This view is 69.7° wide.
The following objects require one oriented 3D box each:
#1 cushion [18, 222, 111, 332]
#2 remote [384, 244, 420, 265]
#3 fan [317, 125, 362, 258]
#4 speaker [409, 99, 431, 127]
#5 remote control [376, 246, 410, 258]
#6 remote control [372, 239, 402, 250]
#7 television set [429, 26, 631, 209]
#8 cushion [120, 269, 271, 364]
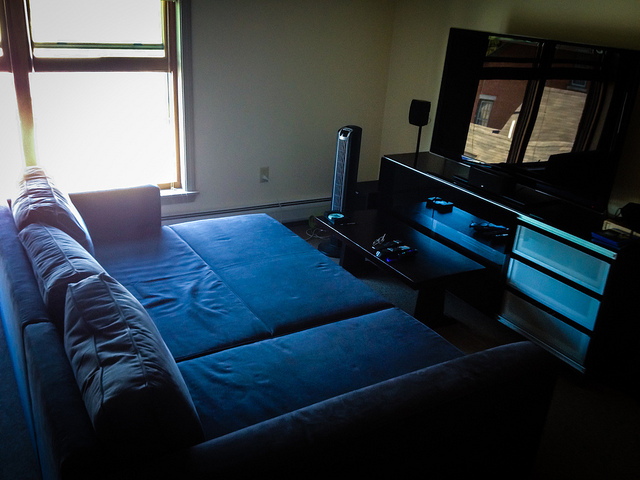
[{"bbox_3d":[-1.000,0.142,1.760,0.143,0.146,0.364,-19,31,-27],"label":"cushion"},{"bbox_3d":[0.521,0.077,2.929,0.160,0.043,0.115,-19,17,-12],"label":"remote"},{"bbox_3d":[0.185,-0.493,3.833,0.281,0.849,0.276,2,18,-13],"label":"fan"},{"bbox_3d":[0.796,-1.021,3.713,0.157,0.201,0.109,8,26,15],"label":"speaker"},{"bbox_3d":[0.470,0.069,2.939,0.106,0.025,0.105,-15,13,-35],"label":"remote control"},{"bbox_3d":[0.439,0.033,3.024,0.234,0.027,0.103,-16,12,-29],"label":"remote control"},{"bbox_3d":[1.454,-0.826,3.095,1.166,0.891,0.128,28,27,36],"label":"television set"},{"bbox_3d":[-0.560,0.342,2.156,0.362,0.059,0.508,-12,33,-28],"label":"cushion"}]
